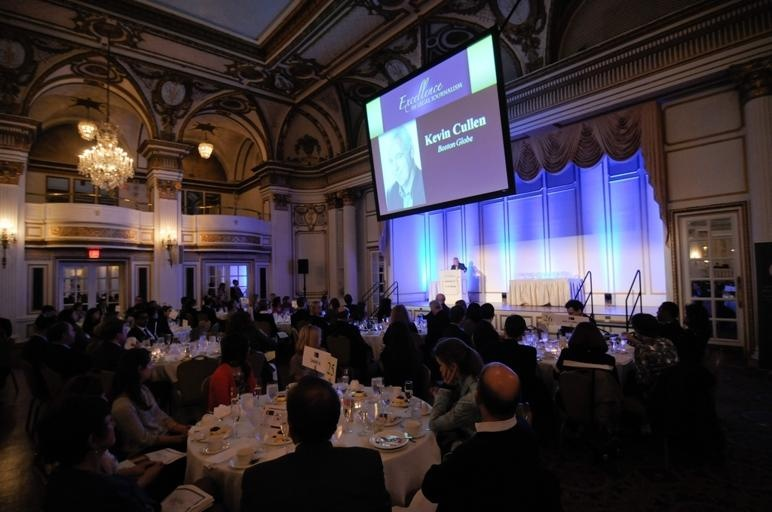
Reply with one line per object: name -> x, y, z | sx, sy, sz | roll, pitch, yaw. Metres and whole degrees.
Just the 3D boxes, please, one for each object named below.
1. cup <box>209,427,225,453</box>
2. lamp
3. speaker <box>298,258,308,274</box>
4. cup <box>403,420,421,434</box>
cup -> -2.342, 2.532, 7.594 | 0.216, 0.295, 0.275 | 1, -5, -16
lamp -> -7.060, -3.660, 13.944 | 1.243, 4.205, 1.226 | -1, -2, -2
speaker -> -2.830, 0.329, 18.765 | 0.423, 0.647, 0.433 | 0, -1, -20
cup -> 0.362, 2.340, 7.643 | 0.177, 0.168, 0.173 | -3, 1, 0
